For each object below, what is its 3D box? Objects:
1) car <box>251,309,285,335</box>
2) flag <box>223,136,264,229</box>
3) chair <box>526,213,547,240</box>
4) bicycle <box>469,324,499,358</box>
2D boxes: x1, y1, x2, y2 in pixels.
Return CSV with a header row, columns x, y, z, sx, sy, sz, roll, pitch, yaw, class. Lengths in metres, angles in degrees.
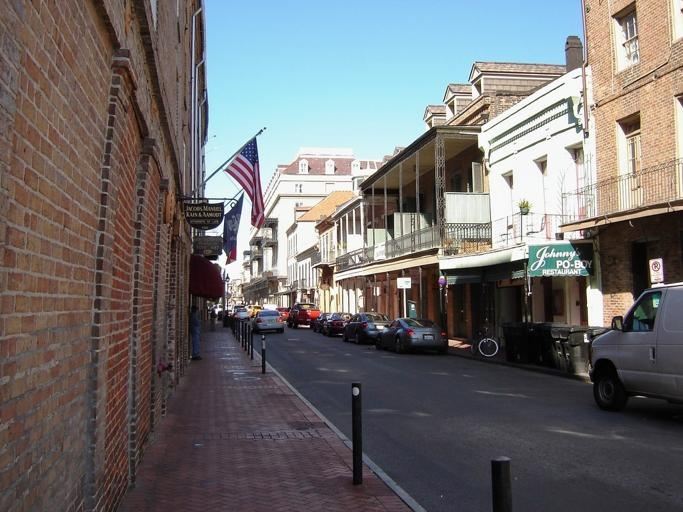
x,y,z,sx,sy,sz,roll,pitch,yaw,class
-4.930,4.311,42.148,1.699,1.639,2.268,-8,-9,39,car
-2.741,-2.297,18.550,1.182,0.346,3.523,16,-45,5,flag
7.016,-1.100,22.848,0.657,0.999,1.075,-3,-7,1,chair
5.218,3.157,22.994,0.625,0.969,1.425,4,-8,-13,bicycle
